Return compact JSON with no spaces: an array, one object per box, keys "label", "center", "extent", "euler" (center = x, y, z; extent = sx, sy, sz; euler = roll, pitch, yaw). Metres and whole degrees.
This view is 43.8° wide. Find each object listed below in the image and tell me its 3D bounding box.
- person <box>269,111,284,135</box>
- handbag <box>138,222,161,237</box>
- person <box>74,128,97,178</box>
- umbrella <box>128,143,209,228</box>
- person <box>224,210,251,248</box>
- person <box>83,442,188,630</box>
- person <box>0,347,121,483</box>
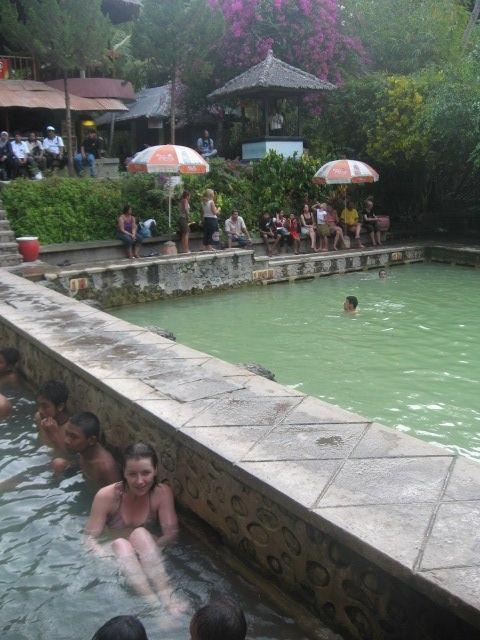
[{"label":"person","center":[1.334,-7.355,22.111],"extent":[0.446,0.871,0.355],"euler":[1,11,1]},{"label":"handbag","center":[-2.259,-2.311,14.970],"extent":[0.494,0.490,0.459],"euler":[1,1,-21]},{"label":"person","center":[-4.592,-5.107,18.037],"extent":[0.712,1.468,2.072],"euler":[-2,11,-13]},{"label":"umbrella","center":[-1.610,-3.134,13.976],"extent":[2.216,1.928,2.171],"euler":[-11,18,-36]},{"label":"person","center":[-0.049,-2.446,15.923],"extent":[0.702,0.974,0.474],"euler":[-3,11,-19]},{"label":"person","center":[-0.579,1.098,3.403],"extent":[0.460,0.639,0.926],"euler":[-2,19,-22]},{"label":"person","center":[-1.414,0.782,4.820],"extent":[0.477,0.335,0.812],"euler":[14,21,-42]}]
